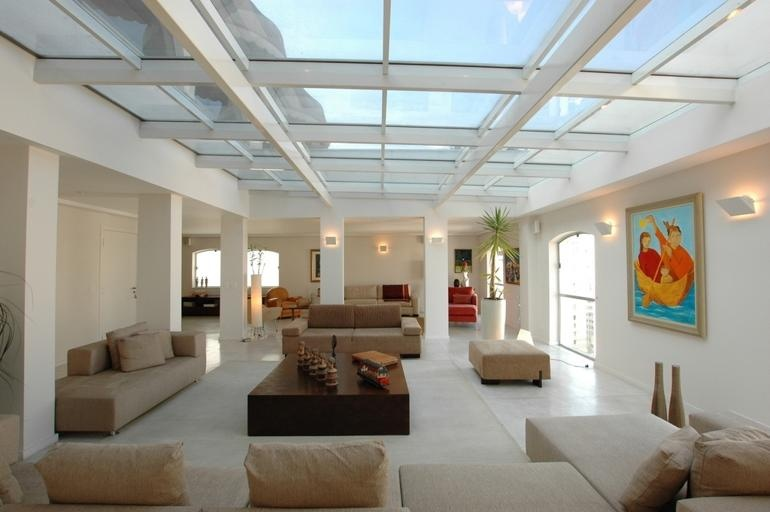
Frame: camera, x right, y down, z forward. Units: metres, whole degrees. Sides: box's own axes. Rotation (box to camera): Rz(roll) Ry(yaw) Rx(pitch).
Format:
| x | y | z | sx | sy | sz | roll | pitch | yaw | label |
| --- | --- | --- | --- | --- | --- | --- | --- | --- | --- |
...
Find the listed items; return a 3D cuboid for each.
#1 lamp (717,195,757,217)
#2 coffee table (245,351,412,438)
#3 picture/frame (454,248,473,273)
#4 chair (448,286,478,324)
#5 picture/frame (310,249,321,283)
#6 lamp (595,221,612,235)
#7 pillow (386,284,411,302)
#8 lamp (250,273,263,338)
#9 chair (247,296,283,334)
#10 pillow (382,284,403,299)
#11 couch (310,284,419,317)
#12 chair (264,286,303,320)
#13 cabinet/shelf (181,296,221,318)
| x | y | z | sx | sy | sz | roll | pitch | yaw | label |
| --- | --- | --- | --- | --- | --- | --- | --- | --- | --- |
| 4.044 | -0.568 | 5.744 | 0.188 | 0.237 | 0.365 | -3 | 5 | -26 | lamp |
| -0.676 | 1.809 | 6.235 | 1.930 | 0.502 | 0.964 | 0 | 4 | -1 | coffee table |
| 2.359 | 0.174 | 14.955 | 0.755 | 0.983 | 0.039 | 1 | -9 | -2 | picture/frame |
| 2.004 | 1.268 | 12.830 | 0.918 | 0.839 | 0.989 | -1 | -9 | 7 | chair |
| -2.162 | 0.291 | 15.294 | 0.263 | 0.986 | 0.178 | 0 | 5 | 7 | picture/frame |
| 3.430 | -0.426 | 7.861 | 0.202 | 0.237 | 0.251 | -1 | 1 | -12 | lamp |
| 0.334 | 1.059 | 14.052 | 0.741 | 0.422 | 0.586 | -1 | 5 | -8 | pillow |
| -2.849 | 1.070 | 10.992 | 0.255 | 1.338 | 0.525 | -2 | 5 | -15 | lamp |
| -2.851 | 1.454 | 12.036 | 0.866 | 0.969 | 0.835 | -2 | 1 | -37 | chair |
| 0.231 | 1.041 | 14.081 | 0.441 | 0.424 | 0.105 | 0 | -11 | 7 | pillow |
| -0.509 | 1.286 | 14.053 | 2.940 | 0.976 | 0.960 | 1 | -2 | -3 | couch |
| -2.886 | 1.346 | 14.202 | 0.916 | 1.035 | 0.967 | 2 | -3 | -45 | chair |
| -5.472 | 1.477 | 14.697 | 1.104 | 0.573 | 0.366 | 0 | 5 | 6 | cabinet/shelf |
